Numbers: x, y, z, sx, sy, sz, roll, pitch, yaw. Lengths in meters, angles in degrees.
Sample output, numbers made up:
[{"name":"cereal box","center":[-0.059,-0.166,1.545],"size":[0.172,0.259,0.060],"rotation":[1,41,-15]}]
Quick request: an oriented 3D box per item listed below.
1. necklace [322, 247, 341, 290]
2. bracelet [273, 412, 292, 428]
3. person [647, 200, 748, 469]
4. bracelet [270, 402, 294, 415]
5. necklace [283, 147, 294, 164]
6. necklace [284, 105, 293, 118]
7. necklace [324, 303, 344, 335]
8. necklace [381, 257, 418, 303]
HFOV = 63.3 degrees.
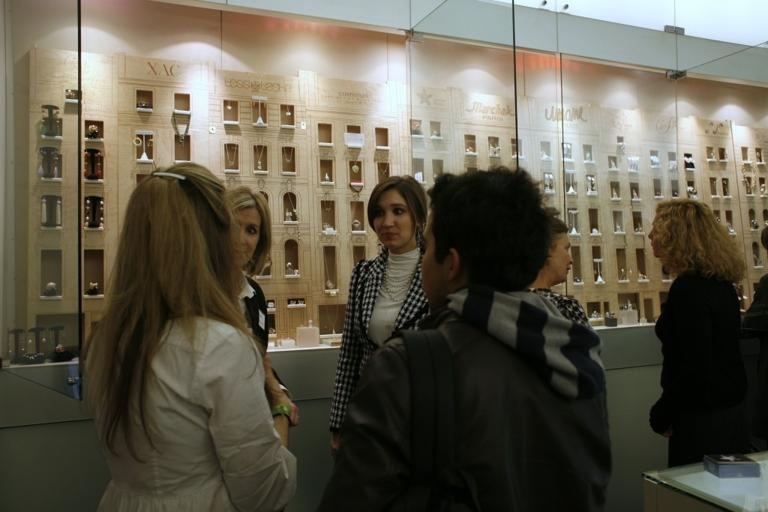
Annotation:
[{"name":"necklace","center":[-0.483,0.122,5.630],"size":[0.148,0.459,0.031],"rotation":[-3,-4,15]},{"name":"bracelet","center":[-0.532,0.855,3.286],"size":[0.077,0.081,0.079],"rotation":[-17,-7,2]},{"name":"person","center":[2.115,0.520,4.187],"size":[0.603,1.817,0.354],"rotation":[0,1,25]},{"name":"bracelet","center":[-0.531,0.797,3.272],"size":[0.064,0.045,0.063],"rotation":[9,-20,-37]},{"name":"necklace","center":[-0.862,-0.907,5.574],"size":[0.139,0.139,0.034],"rotation":[-1,3,-12]},{"name":"necklace","center":[-0.855,-1.298,5.557],"size":[0.110,0.108,0.027],"rotation":[1,3,-4]},{"name":"necklace","center":[-0.477,0.567,5.590],"size":[0.243,0.248,0.225],"rotation":[2,-14,-11]},{"name":"necklace","center":[0.092,0.130,3.829],"size":[0.195,0.293,0.080],"rotation":[1,-23,31]}]
